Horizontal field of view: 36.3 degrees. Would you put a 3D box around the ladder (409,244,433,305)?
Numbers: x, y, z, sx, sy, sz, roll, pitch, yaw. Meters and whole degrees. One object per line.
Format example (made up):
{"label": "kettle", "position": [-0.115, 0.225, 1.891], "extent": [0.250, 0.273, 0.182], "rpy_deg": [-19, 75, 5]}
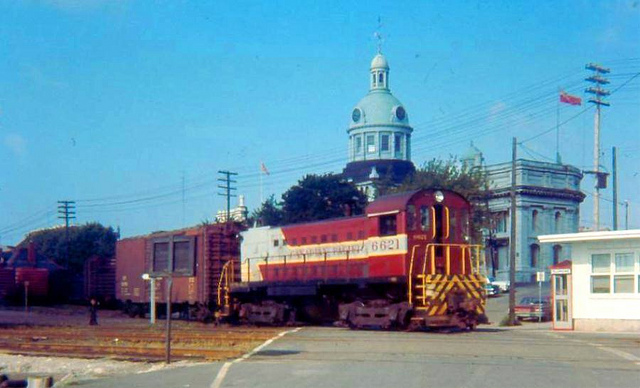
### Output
{"label": "ladder", "position": [6.309, 5.109, 63.316], "extent": [0.989, 3.718, 0.989], "rpy_deg": [2, 0, 3]}

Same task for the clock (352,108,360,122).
{"label": "clock", "position": [5.639, -12.490, 151.734], "extent": [0.246, 1.963, 1.864], "rpy_deg": [2, -1, -28]}
